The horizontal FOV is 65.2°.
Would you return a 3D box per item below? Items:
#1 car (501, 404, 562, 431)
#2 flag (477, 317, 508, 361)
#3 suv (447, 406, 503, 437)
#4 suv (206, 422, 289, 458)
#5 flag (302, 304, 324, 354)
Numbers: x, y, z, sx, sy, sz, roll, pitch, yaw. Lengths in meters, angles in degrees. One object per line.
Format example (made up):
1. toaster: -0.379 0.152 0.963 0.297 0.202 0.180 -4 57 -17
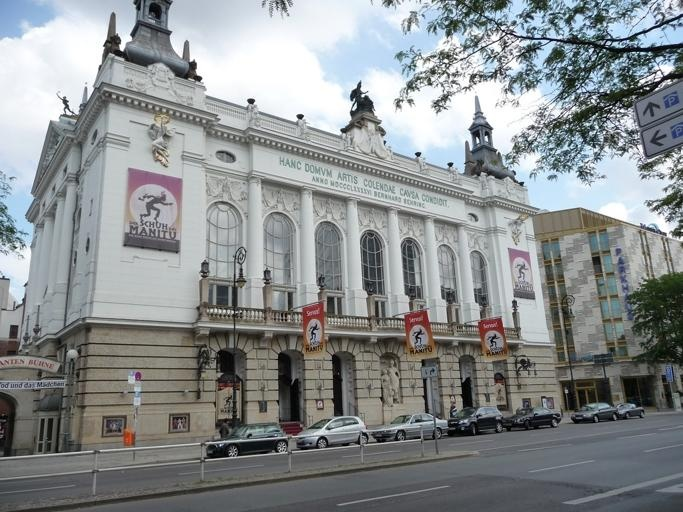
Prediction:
1. car: 14.868 12.683 41.961 2.371 1.524 5.663 -18 -22 41
2. flag: 11.837 6.370 41.710 0.842 3.181 2.064 12 -22 -40
3. suv: 9.314 11.503 37.448 4.151 1.813 1.440 5 -19 -25
4. suv: -4.830 9.397 27.465 3.608 1.477 1.322 9 -20 -34
5. flag: -1.734 4.506 33.260 0.103 3.674 2.543 12 -20 -44
